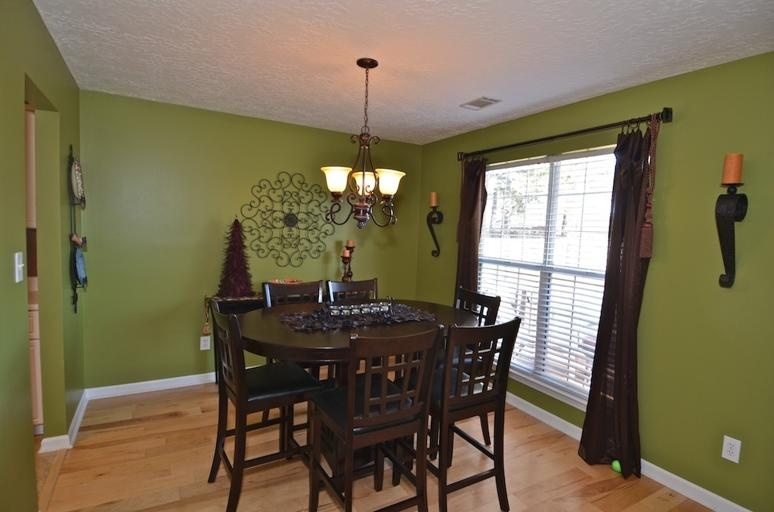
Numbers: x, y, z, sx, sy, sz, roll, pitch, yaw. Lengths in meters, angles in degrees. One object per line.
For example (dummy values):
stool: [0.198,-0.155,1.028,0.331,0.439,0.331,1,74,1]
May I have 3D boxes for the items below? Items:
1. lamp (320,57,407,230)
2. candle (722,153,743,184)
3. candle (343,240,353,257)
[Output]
lamp: [-0.242,-0.935,4.577,0.671,1.333,0.658,5,7,19]
candle: [2.465,-0.602,3.930,0.137,0.219,0.091,2,6,12]
candle: [-0.418,-0.074,6.087,0.127,0.174,0.276,1,5,-5]
